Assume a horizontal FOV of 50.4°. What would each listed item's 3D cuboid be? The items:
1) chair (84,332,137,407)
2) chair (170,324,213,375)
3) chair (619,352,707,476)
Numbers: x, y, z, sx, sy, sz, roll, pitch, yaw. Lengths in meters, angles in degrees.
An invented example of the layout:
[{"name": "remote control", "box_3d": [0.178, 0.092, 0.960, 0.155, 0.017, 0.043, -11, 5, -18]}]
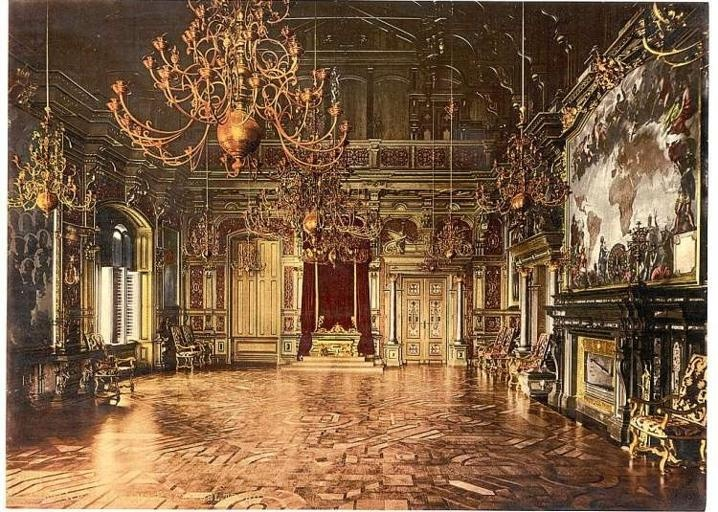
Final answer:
[{"name": "chair", "box_3d": [-4.935, 2.251, 15.268, 1.024, 1.837, 1.321, 0, 0, 2]}, {"name": "chair", "box_3d": [-4.228, 2.280, 19.017, 0.774, 1.174, 1.573, 1, 6, 4]}, {"name": "chair", "box_3d": [4.660, 2.314, 11.361, 1.013, 1.663, 0.857, 3, 6, 25]}]
